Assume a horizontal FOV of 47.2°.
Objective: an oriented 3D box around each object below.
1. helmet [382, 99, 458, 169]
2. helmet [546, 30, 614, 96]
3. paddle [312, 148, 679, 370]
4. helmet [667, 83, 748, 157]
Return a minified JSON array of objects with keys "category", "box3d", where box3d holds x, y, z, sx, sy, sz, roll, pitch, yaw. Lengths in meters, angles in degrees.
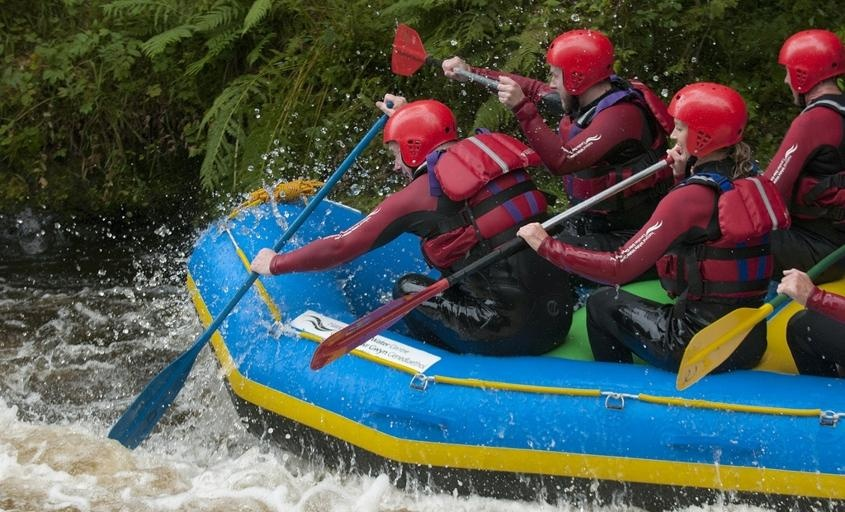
[{"category":"helmet","box3d":[-0.025,-0.870,6.917,0.508,0.432,0.404,0,11,19]},{"category":"helmet","box3d":[1.196,-1.451,7.264,0.489,0.427,0.392,6,17,16]},{"category":"paddle","box3d":[0.595,0.066,6.929,2.740,0.228,0.172,-34,13,-11]},{"category":"helmet","box3d":[1.944,-0.960,6.645,0.497,0.416,0.429,10,17,26]}]
